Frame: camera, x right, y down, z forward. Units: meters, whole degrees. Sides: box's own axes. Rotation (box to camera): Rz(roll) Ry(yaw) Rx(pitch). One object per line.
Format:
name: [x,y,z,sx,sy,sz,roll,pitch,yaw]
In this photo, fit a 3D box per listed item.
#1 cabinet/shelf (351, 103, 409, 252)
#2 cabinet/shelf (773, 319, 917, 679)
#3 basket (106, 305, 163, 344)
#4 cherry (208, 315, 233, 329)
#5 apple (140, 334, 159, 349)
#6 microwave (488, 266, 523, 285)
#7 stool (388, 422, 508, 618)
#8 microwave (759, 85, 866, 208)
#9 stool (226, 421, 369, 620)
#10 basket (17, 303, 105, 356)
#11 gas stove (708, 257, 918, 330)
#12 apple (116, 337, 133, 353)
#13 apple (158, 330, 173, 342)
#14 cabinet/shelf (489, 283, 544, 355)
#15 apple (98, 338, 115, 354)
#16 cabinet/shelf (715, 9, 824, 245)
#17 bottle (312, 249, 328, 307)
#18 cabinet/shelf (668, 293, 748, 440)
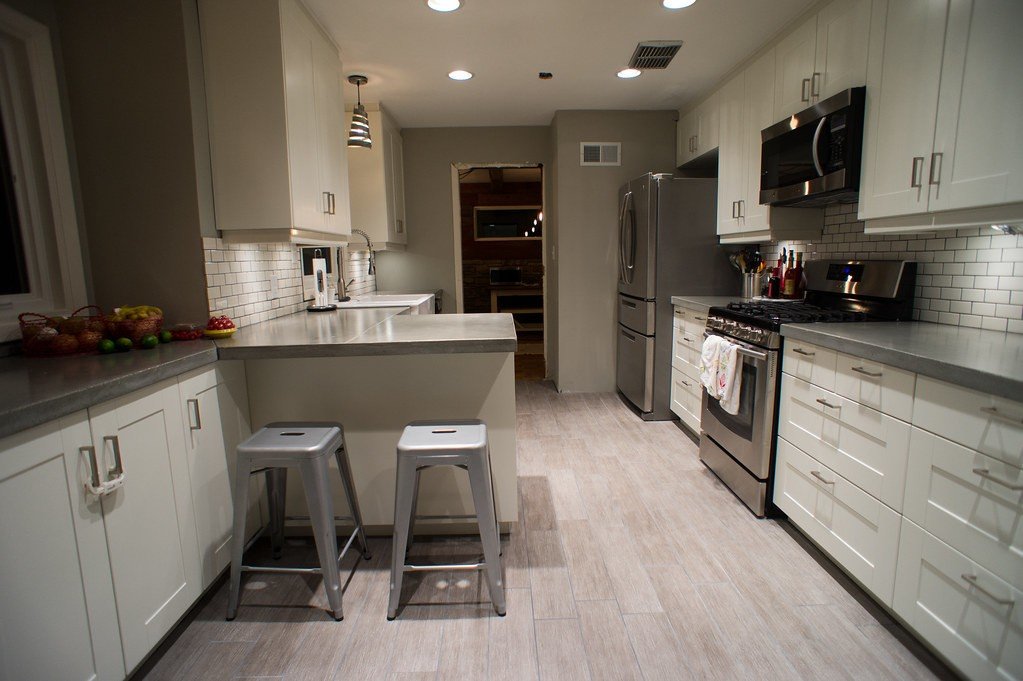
cabinet/shelf: [-1.169,-1.436,5.626,0.356,1.043,1.071,-1,9,-1]
cabinet/shelf: [1.852,0.590,3.410,0.567,1.218,0.992,-4,13,-10]
basket: [-1.911,-0.096,3.274,0.201,0.122,0.204,0,4,-4]
cherry: [-1.575,-0.096,3.486,0.141,0.058,0.094,-5,10,-9]
apple: [-1.808,-0.006,3.263,0.060,0.068,0.112,1,11,21]
microwave: [-0.121,-1.033,10.341,0.427,0.271,0.287,-1,-1,-1]
stool: [-0.326,0.808,3.536,0.774,1.182,0.759,1,12,-1]
microwave: [1.878,-1.152,4.031,0.412,0.530,0.833,-1,3,-15]
stool: [-1.108,0.872,3.313,0.586,0.916,0.573,-2,10,7]
basket: [-2.220,-0.050,3.219,0.275,0.183,0.276,-2,4,-36]
gas stove: [1.814,-0.326,4.051,0.927,0.344,0.934,-4,10,-4]
apple: [-1.908,0.012,3.192,0.075,0.067,0.042,-10,12,-32]
apple: [-1.787,-0.031,3.339,0.046,0.050,0.048,-3,14,-8]
cabinet/shelf: [0.139,-0.443,9.928,0.813,0.855,0.506,-1,7,13]
apple: [-1.964,0.022,3.139,0.062,0.063,0.064,8,-22,-34]
cabinet/shelf: [1.722,-1.443,4.294,0.393,1.076,1.078,2,15,5]
bottle: [-1.468,-0.468,4.935,0.133,0.340,0.362,-6,10,-16]
cabinet/shelf: [1.520,0.160,4.933,0.468,1.103,0.580,-6,16,-12]
